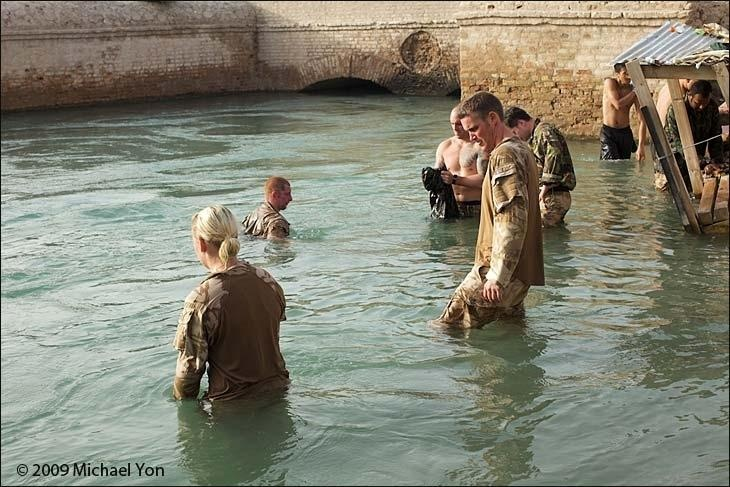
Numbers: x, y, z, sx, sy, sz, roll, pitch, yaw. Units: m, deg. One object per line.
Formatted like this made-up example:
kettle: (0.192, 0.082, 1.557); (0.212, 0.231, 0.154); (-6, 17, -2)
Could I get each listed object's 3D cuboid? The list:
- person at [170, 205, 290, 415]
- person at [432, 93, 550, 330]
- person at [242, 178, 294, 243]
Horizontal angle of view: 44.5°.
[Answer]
person: (-1.395, 0.624, 9.026); (1.180, 2.026, 0.440); (-5, 8, -10)
person: (1.443, -0.323, 10.140); (0.998, 2.752, 0.730); (-1, 9, 21)
person: (-1.461, -0.582, 14.285); (0.744, 0.862, 1.369); (-7, 13, -19)
